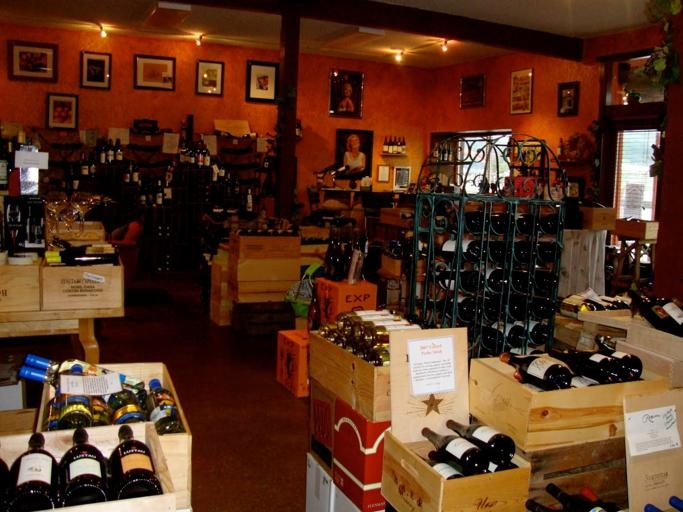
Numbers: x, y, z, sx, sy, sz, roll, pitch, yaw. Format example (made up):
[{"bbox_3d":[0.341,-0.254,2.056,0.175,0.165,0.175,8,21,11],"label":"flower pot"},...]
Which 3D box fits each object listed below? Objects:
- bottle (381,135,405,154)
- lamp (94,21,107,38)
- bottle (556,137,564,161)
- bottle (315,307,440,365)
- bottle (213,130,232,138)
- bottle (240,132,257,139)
[{"bbox_3d":[1.103,-2.430,11.585,0.415,0.395,0.096,2,7,-4],"label":"bottle"},{"bbox_3d":[-4.155,-3.918,9.181,0.159,0.157,0.284,0,13,-21],"label":"lamp"},{"bbox_3d":[3.623,-1.765,8.776,0.121,0.380,0.317,5,9,15],"label":"bottle"},{"bbox_3d":[0.145,0.343,2.373,0.257,0.094,0.277,0,10,0],"label":"bottle"},{"bbox_3d":[-2.212,-2.265,9.851,0.198,0.065,0.205,4,7,-1],"label":"bottle"},{"bbox_3d":[-1.725,-2.242,9.892,0.260,0.095,0.139,2,18,-4],"label":"bottle"}]
